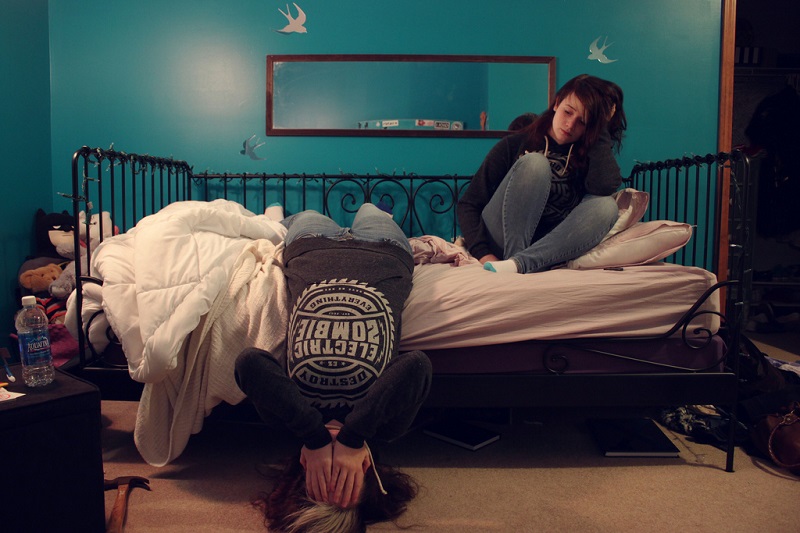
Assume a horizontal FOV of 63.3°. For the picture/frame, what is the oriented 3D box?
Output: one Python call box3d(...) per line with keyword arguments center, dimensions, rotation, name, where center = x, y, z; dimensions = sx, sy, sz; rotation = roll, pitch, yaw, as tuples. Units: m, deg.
box3d(center=(0.068, -1.113, 4.271), dimensions=(1.948, 0.559, 0.043), rotation=(2, 5, 5), name="picture/frame")
